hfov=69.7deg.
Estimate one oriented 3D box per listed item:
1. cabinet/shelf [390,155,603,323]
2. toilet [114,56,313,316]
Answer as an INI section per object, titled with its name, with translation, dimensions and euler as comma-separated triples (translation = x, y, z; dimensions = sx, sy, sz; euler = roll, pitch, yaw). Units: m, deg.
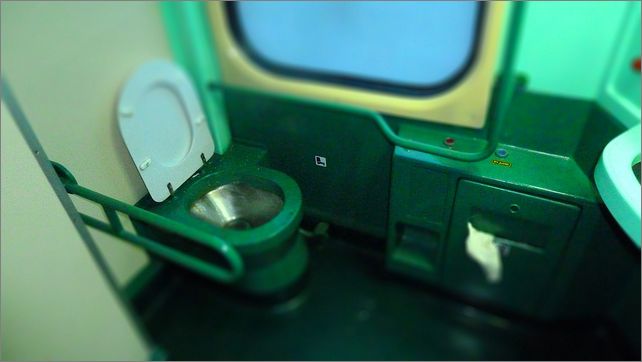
[cabinet/shelf]
translation = 0.879, 0.265, 2.226
dimensions = 0.816, 0.643, 0.281
euler = 16, 45, 24
[toilet]
translation = -0.465, 0.027, 2.262
dimensions = 0.811, 1.089, 0.807
euler = 25, 49, 30
